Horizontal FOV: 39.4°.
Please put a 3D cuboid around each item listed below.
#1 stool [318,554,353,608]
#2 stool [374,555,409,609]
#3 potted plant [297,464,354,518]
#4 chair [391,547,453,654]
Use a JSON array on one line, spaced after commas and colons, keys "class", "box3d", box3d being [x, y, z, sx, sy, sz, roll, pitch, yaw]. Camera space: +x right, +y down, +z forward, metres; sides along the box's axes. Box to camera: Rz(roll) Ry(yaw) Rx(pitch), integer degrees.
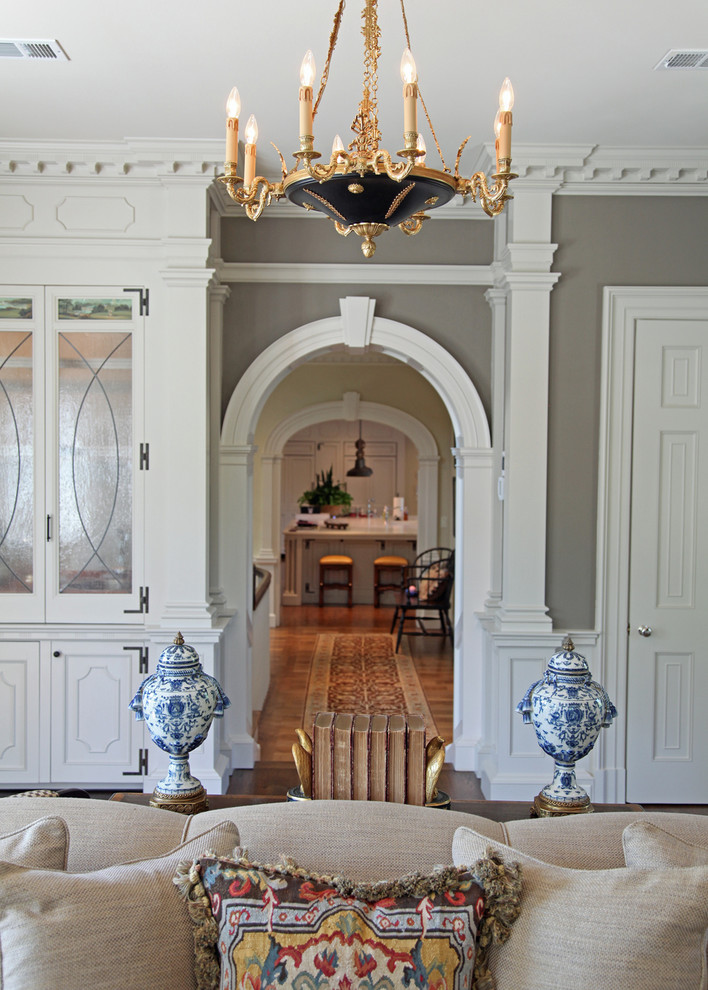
[{"class": "stool", "box3d": [-0.185, 0.895, 10.345, 0.493, 0.660, 0.478, 0, 3, 1]}, {"class": "stool", "box3d": [0.343, 0.893, 10.218, 0.490, 0.713, 0.498, 2, -1, 5]}, {"class": "potted plant", "box3d": [-0.328, -0.010, 11.504, 0.532, 0.500, 0.516, 1, 4, 3]}, {"class": "chair", "box3d": [0.618, 0.854, 8.354, 0.735, 1.048, 0.775, 0, 1, -2]}]
